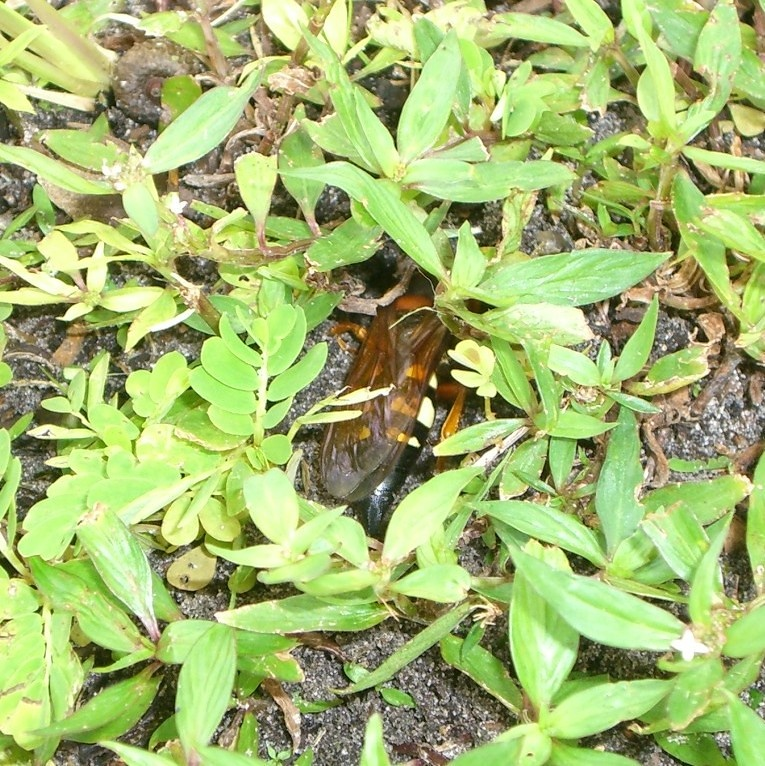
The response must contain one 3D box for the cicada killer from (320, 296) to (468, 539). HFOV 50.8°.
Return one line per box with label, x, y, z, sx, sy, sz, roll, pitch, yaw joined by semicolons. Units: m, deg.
cicada killer;0.020;0.055;1.503;0.308;0.141;0.392;4;87;31
